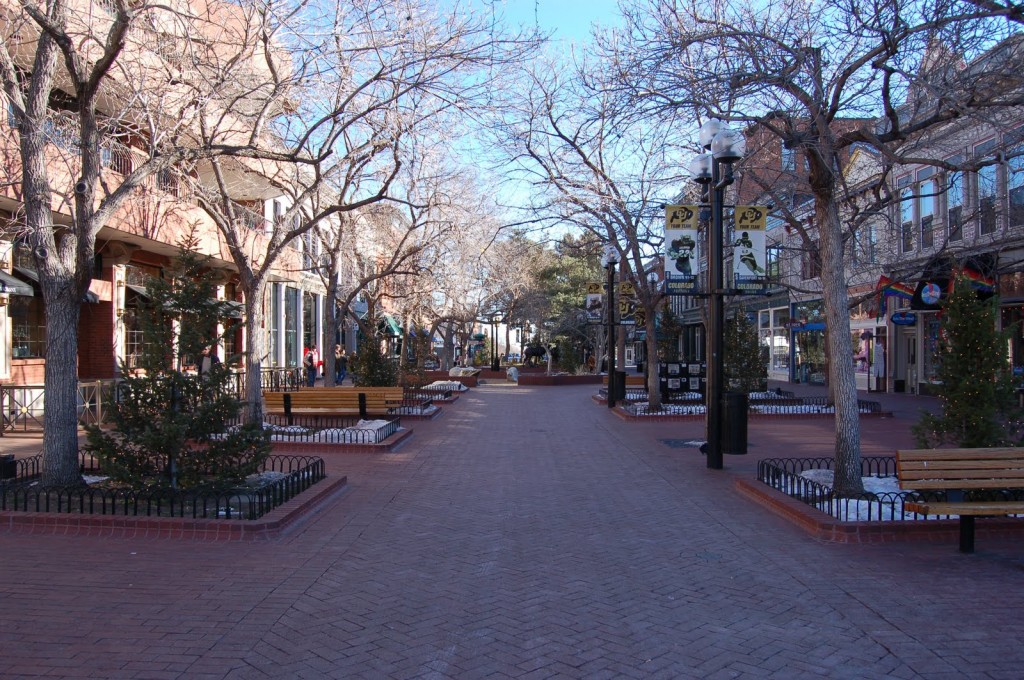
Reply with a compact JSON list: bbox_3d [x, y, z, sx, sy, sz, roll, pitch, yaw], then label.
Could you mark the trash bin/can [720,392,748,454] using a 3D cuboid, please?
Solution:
[{"bbox_3d":[3.988,1.500,17.397,0.424,1.157,0.367,3,14,12],"label":"trash bin/can"}]
